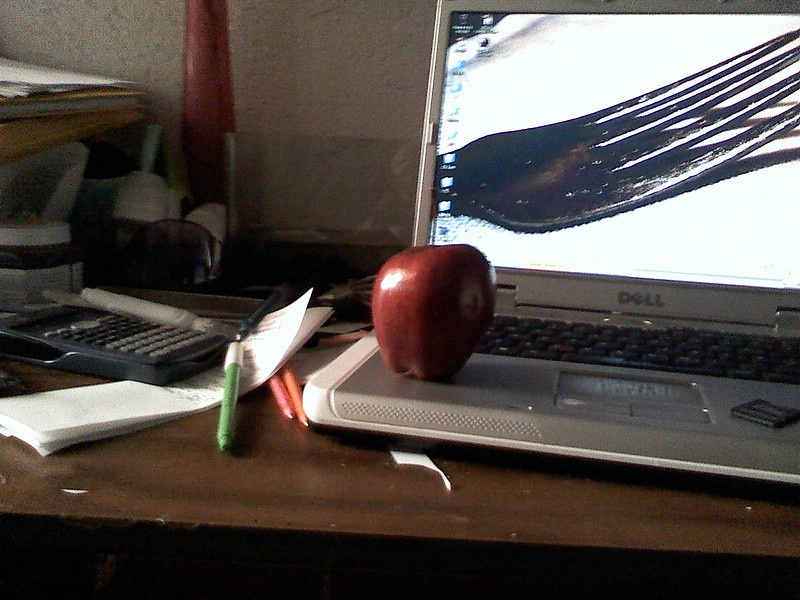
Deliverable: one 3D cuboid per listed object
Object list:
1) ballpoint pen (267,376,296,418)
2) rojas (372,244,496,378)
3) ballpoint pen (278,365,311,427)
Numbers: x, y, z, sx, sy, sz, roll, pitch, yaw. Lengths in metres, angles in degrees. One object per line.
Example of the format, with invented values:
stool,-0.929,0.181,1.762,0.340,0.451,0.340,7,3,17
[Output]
ballpoint pen,-0.106,0.083,0.647,0.013,0.012,0.056,34,7,-29
rojas,0.026,0.007,0.646,0.117,0.108,0.114,11,11,32
ballpoint pen,-0.096,0.082,0.642,0.014,0.014,0.093,37,9,-28
